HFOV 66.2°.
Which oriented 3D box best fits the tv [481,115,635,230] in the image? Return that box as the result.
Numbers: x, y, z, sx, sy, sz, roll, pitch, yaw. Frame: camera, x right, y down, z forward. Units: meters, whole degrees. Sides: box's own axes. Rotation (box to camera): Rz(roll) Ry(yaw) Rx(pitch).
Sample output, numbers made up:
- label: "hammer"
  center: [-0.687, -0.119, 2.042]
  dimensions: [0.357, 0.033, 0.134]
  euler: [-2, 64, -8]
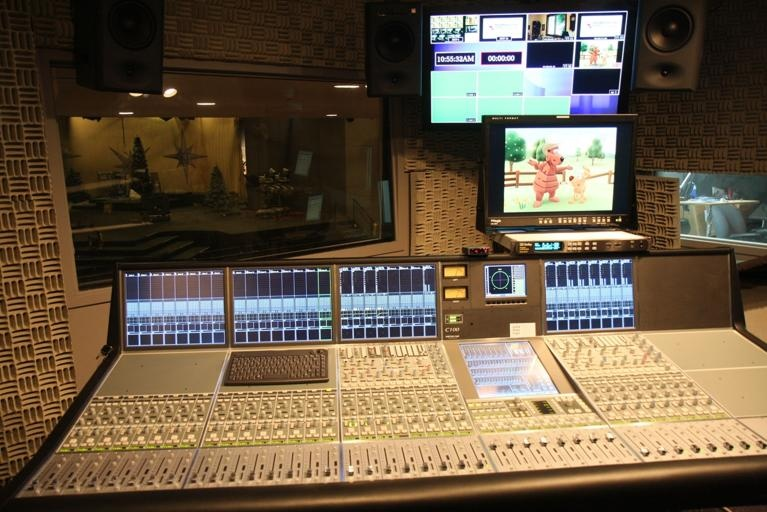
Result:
- label: "tv"
  center: [0.910, -0.468, 3.126]
  dimensions: [0.609, 0.424, 0.045]
  euler: [-1, 5, -2]
